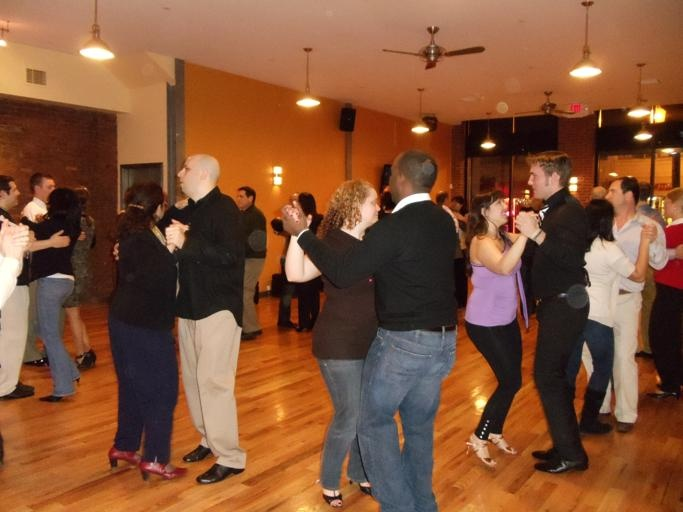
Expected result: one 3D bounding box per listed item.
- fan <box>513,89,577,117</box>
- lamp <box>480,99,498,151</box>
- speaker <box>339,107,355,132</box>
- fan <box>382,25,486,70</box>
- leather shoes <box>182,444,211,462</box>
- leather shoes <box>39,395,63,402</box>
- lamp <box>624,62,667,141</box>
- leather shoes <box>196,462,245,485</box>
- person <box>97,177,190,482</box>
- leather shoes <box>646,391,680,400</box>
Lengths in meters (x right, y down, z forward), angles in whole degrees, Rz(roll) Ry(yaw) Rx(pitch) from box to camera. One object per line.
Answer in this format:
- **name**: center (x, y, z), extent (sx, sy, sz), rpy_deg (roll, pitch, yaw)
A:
- **fan**: center (4.327, -2.958, 10.995), extent (0.765, 0.307, 0.758), rpy_deg (6, -2, -5)
- **lamp**: center (3.628, -3.229, 13.546), extent (0.659, 1.392, 0.586), rpy_deg (3, -34, 8)
- **speaker**: center (0.128, -2.885, 11.703), extent (0.310, 0.557, 0.417), rpy_deg (1, 9, 6)
- **fan**: center (1.272, -2.644, 7.373), extent (0.969, 0.389, 0.890), rpy_deg (1, 7, -3)
- **leather shoes**: center (-1.056, 1.460, 4.124), extent (0.220, 0.091, 0.105), rpy_deg (5, -5, -33)
- **leather shoes**: center (-2.640, 1.300, 5.054), extent (0.151, 0.061, 0.052), rpy_deg (7, 5, 11)
- **lamp**: center (6.005, -2.837, 10.780), extent (0.769, 1.074, 4.285), rpy_deg (5, 10, 27)
- **leather shoes**: center (-0.852, 1.509, 3.888), extent (0.347, 0.136, 0.126), rpy_deg (-2, 7, -29)
- **person**: center (-1.347, 0.535, 3.812), extent (0.386, 2.027, 0.482), rpy_deg (-8, 12, -43)
- **leather shoes**: center (3.096, 1.336, 5.328), extent (0.262, 0.095, 0.102), rpy_deg (6, 0, 15)
